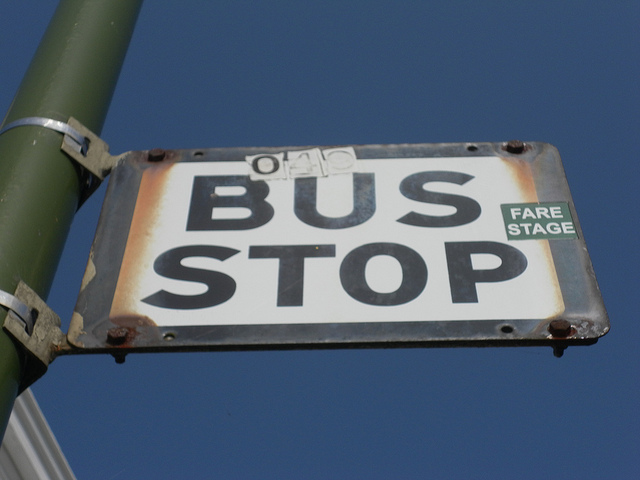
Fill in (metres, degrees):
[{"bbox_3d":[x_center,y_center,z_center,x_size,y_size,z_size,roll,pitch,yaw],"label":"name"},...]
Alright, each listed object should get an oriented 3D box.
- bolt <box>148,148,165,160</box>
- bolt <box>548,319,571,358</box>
[{"bbox_3d":[-0.503,-0.263,3.058,0.050,0.028,0.027,4,-35,-7],"label":"bolt"},{"bbox_3d":[0.630,0.277,2.636,0.040,0.051,0.041,7,-6,-17],"label":"bolt"}]
